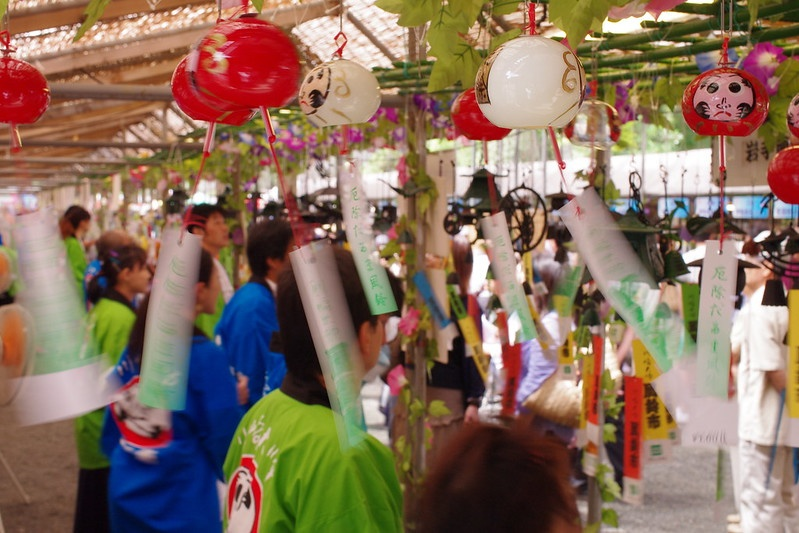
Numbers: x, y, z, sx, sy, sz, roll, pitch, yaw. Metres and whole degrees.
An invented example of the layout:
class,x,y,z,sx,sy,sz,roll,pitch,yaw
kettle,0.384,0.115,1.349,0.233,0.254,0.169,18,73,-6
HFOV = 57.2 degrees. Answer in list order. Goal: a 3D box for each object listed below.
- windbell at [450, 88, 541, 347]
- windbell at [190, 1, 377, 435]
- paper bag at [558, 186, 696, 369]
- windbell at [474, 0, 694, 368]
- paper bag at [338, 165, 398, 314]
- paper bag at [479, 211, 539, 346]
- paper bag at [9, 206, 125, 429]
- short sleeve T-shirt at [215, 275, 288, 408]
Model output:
class,x,y,z,sx,sy,sz,roll,pitch,yaw
windbell,0.386,-0.230,3.193,0.283,1.096,0.293,-5,-3,25
windbell,-0.414,-0.174,2.387,0.572,1.484,0.375,1,3,10
paper bag,0.852,0.045,2.892,0.288,0.986,0.135,-36,17,-4
windbell,0.694,-0.266,2.732,0.877,1.371,0.279,-1,3,-27
paper bag,-0.164,-0.130,3.387,0.156,1.059,0.146,-10,-28,-2
paper bag,0.468,0.044,3.191,0.129,0.590,0.063,-11,9,20
paper bag,-1.139,0.162,2.451,0.312,0.696,0.241,-1,3,-18
short sleeve T-shirt,-0.870,0.415,4.457,0.542,0.888,0.970,-1,1,-15
